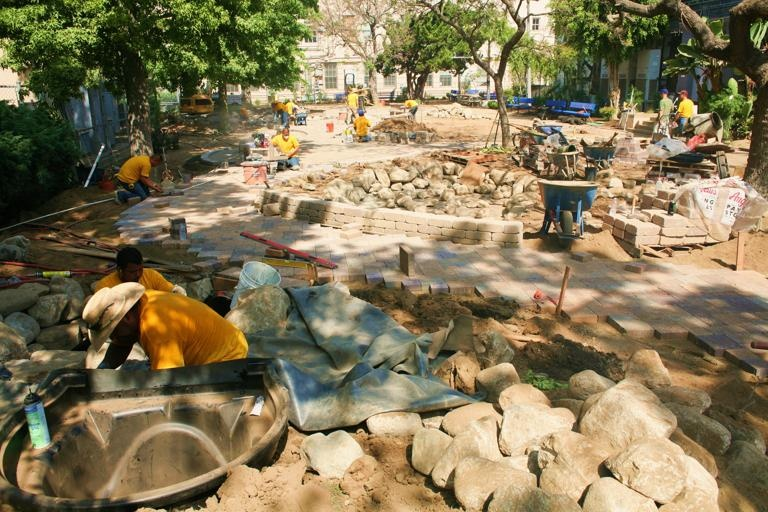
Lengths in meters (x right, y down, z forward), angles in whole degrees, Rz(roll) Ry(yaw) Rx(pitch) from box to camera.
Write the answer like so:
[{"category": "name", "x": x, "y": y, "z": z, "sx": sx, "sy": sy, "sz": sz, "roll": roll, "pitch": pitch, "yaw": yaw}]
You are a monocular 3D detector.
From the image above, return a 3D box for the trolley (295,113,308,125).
[{"category": "trolley", "x": -5.373, "y": -8.727, "z": 31.138, "sx": 0.997, "sy": 0.821, "sz": 0.860, "roll": 0, "pitch": 6, "yaw": -1}]

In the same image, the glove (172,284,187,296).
[{"category": "glove", "x": -2.684, "y": 0.464, "z": 6.367, "sx": 0.205, "sy": 0.085, "sz": 0.152, "roll": 12, "pitch": 10, "yaw": 26}]

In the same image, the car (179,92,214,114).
[{"category": "car", "x": -13.255, "y": -10.719, "z": 34.668, "sx": 2.582, "sy": 1.359, "sz": 1.662, "roll": 13, "pitch": 20, "yaw": 36}]

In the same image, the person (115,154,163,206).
[{"category": "person", "x": -6.580, "y": -1.999, "z": 12.955, "sx": 1.081, "sy": 1.252, "sz": 1.274, "roll": 17, "pitch": 18, "yaw": 27}]

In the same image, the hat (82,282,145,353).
[{"category": "hat", "x": -2.715, "y": 0.571, "z": 4.704, "sx": 0.547, "sy": 0.651, "sz": 0.249, "roll": 38, "pitch": -4, "yaw": 47}]

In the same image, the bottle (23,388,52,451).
[{"category": "bottle", "x": -3.050, "y": 1.403, "z": 4.241, "sx": 0.147, "sy": 0.517, "sz": 0.278, "roll": -12, "pitch": 22, "yaw": -36}]

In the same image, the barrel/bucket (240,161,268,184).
[{"category": "barrel/bucket", "x": -3.806, "y": -2.395, "z": 14.389, "sx": 0.784, "sy": 0.594, "sz": 0.726, "roll": 0, "pitch": 7, "yaw": 0}]

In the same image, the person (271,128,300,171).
[{"category": "person", "x": -3.262, "y": -3.519, "z": 16.000, "sx": 1.033, "sy": 1.205, "sz": 1.138, "roll": -12, "pitch": 21, "yaw": -32}]
